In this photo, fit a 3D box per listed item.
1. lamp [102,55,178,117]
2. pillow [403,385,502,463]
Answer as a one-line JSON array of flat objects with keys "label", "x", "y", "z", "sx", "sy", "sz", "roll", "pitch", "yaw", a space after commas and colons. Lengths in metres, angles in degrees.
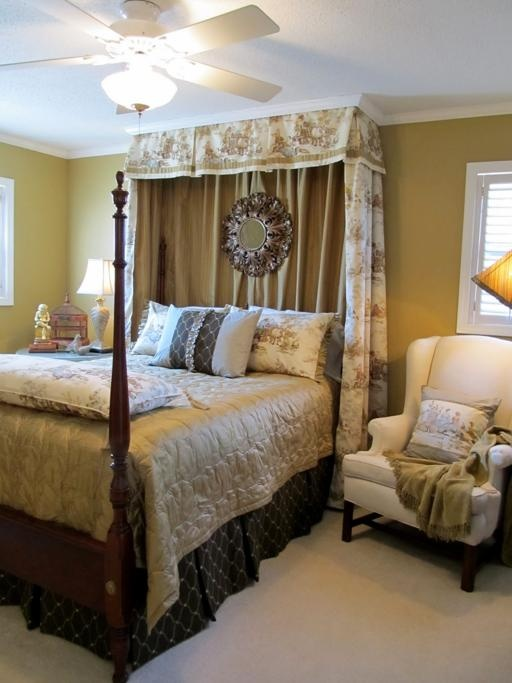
[{"label": "lamp", "x": -0.453, "y": -0.976, "z": 2.117, "sx": 0.224, "sy": 0.145, "sz": 0.218, "roll": -15, "pitch": 35, "yaw": -31}, {"label": "pillow", "x": 0.948, "y": 0.412, "z": 2.650, "sx": 0.384, "sy": 0.316, "sz": 0.277, "roll": 4, "pitch": 3, "yaw": 38}]
